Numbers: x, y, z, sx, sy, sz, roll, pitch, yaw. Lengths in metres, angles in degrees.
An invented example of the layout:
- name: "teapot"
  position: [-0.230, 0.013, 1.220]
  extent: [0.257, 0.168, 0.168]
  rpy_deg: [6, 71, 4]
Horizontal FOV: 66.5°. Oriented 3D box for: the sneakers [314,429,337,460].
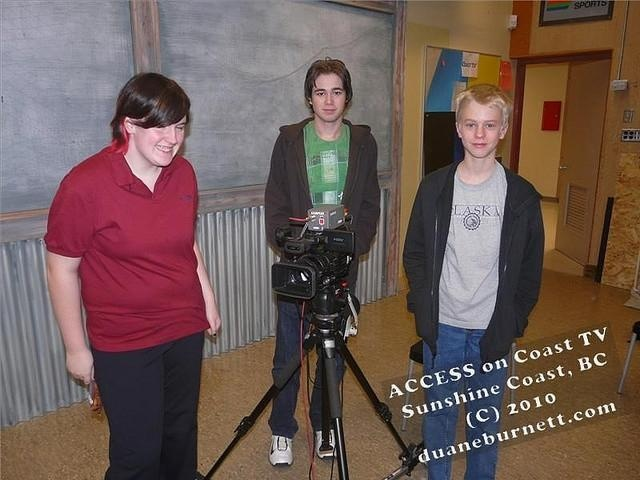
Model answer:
- name: "sneakers"
  position: [0.021, 1.300, 3.153]
  extent: [0.127, 0.156, 0.356]
  rpy_deg: [1, -9, -3]
